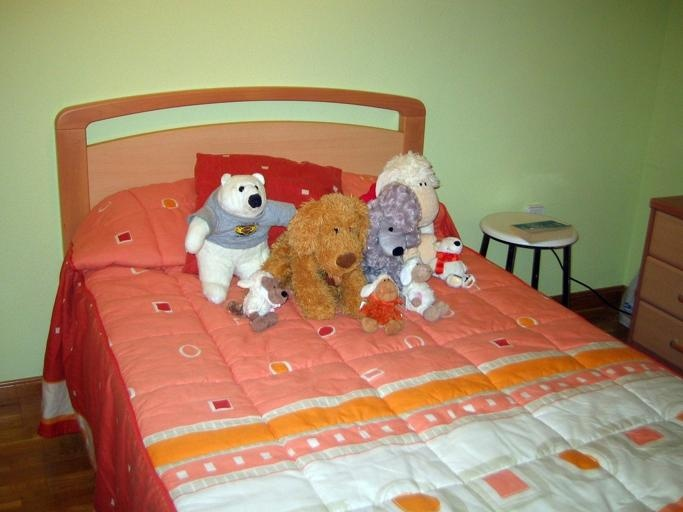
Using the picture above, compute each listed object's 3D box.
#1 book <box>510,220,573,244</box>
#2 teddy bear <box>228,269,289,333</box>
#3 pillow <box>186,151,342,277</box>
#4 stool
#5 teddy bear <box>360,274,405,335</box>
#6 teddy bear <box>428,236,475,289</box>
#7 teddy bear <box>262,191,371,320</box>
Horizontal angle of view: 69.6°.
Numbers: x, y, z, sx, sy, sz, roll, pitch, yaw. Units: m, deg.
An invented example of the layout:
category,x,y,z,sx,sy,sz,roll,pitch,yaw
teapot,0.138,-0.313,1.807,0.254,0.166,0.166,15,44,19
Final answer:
category,x,y,z,sx,sy,sz,roll,pitch,yaw
book,0.983,-0.130,2.459,0.208,0.044,0.139,-9,20,-24
teddy bear,-0.285,0.161,1.803,0.282,0.186,0.219,-7,6,30
pillow,-0.321,-0.252,1.988,0.525,0.172,0.581,1,26,-3
stool,0.978,0.055,2.564,0.337,0.360,0.289,-20,17,-40
teddy bear,0.136,0.172,1.740,0.178,0.201,0.152,5,2,0
teddy bear,0.464,0.026,2.034,0.168,0.204,0.200,-1,16,-25
teddy bear,-0.075,-0.038,1.929,0.505,0.439,0.494,6,23,-8
